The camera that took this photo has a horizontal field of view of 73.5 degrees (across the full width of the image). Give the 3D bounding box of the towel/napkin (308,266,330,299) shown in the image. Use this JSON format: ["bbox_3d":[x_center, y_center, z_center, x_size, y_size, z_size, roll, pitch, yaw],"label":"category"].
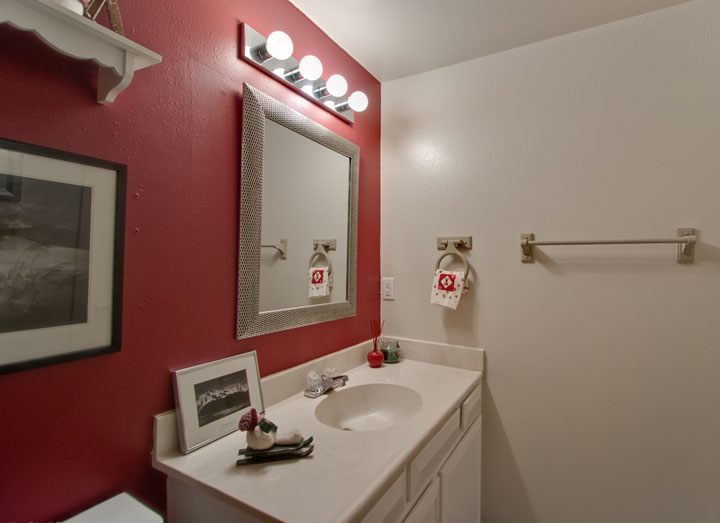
[{"bbox_3d":[-0.200,0.097,2.300,0.025,0.172,0.147,-6,-5,44],"label":"towel/napkin"}]

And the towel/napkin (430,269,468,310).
[{"bbox_3d":[0.447,0.133,2.474,0.171,0.194,0.058,7,-6,45],"label":"towel/napkin"}]

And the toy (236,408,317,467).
[{"bbox_3d":[-0.304,0.634,1.772,0.218,0.151,0.177,1,-9,-4],"label":"toy"}]

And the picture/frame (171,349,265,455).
[{"bbox_3d":[-0.543,0.529,1.803,0.034,0.311,0.342,-20,-15,39],"label":"picture/frame"}]

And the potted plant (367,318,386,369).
[{"bbox_3d":[0.085,0.434,2.617,0.089,0.215,0.273,-2,2,2],"label":"potted plant"}]

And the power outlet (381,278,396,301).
[{"bbox_3d":[0.164,0.152,2.728,0.109,0.162,0.015,4,5,40],"label":"power outlet"}]
